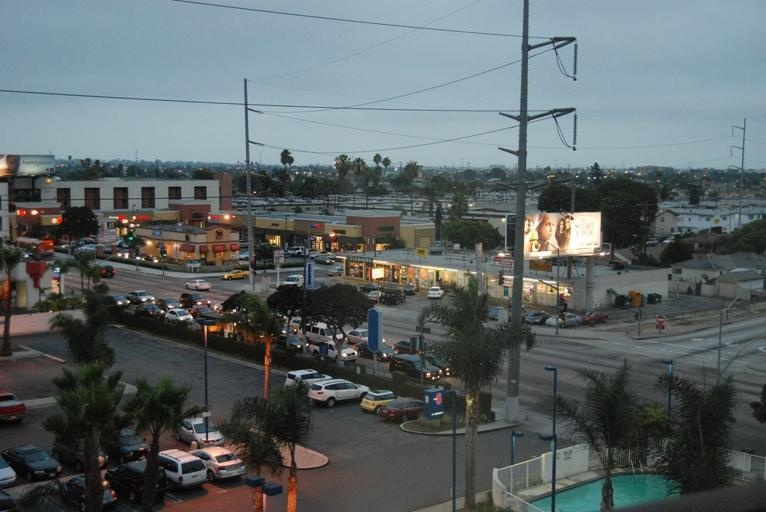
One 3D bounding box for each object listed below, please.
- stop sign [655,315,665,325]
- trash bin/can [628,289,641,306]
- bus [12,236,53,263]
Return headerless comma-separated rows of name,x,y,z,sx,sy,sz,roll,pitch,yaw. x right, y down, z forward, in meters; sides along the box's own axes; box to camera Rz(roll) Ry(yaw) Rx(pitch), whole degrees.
stop sign,25.381,5.827,82.818,0.492,0.684,0.906,1,3,24
trash bin/can,28.210,4.755,101.044,1.577,1.780,0.926,0,3,4
bus,-38.712,-0.612,99.933,2.838,2.688,10.034,-3,6,-36
